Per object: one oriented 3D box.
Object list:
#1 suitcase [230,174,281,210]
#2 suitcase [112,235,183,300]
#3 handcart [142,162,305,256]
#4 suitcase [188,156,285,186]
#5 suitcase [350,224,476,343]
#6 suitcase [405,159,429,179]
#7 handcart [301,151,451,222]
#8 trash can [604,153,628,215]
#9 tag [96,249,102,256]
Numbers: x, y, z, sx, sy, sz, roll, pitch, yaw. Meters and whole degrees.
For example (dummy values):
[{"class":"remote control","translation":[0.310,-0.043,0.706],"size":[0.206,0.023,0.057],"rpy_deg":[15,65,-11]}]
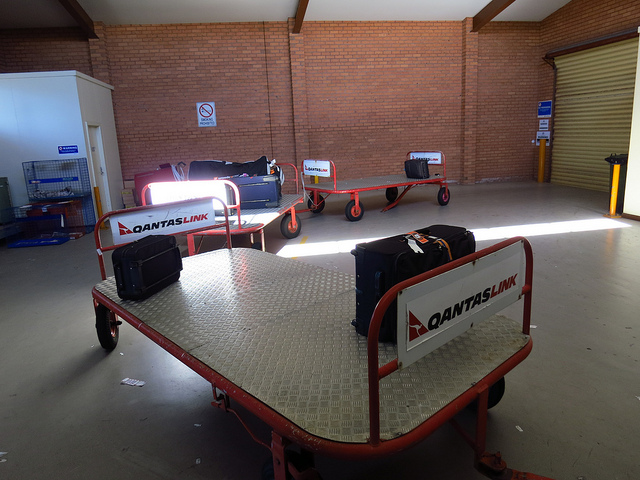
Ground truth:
[{"class":"suitcase","translation":[-1.015,-0.791,6.932],"size":[0.850,0.638,0.512],"rpy_deg":[-1,19,2]},{"class":"suitcase","translation":[-1.493,0.220,3.808],"size":[0.239,0.469,0.642],"rpy_deg":[-1,13,11]},{"class":"handcart","translation":[-1.795,0.114,6.736],"size":[1.454,1.281,2.716],"rpy_deg":[-1,-12,-6]},{"class":"suitcase","translation":[-1.641,-1.330,8.302],"size":[2.101,0.592,0.831],"rpy_deg":[5,14,-2]},{"class":"suitcase","translation":[0.735,0.274,3.226],"size":[0.990,0.714,0.465],"rpy_deg":[-14,17,-37]},{"class":"suitcase","translation":[2.126,-1.568,9.472],"size":[0.416,0.408,0.230],"rpy_deg":[3,10,39]},{"class":"handcart","translation":[1.332,-1.191,9.214],"size":[3.007,1.345,1.708],"rpy_deg":[-8,16,-27]},{"class":"trash can","translation":[5.366,-1.014,7.885],"size":[0.513,1.062,0.397],"rpy_deg":[-1,-1,30]},{"class":"tag","translation":[-2.162,0.116,4.253],"size":[0.071,0.075,0.017],"rpy_deg":[-5,16,-44]}]
